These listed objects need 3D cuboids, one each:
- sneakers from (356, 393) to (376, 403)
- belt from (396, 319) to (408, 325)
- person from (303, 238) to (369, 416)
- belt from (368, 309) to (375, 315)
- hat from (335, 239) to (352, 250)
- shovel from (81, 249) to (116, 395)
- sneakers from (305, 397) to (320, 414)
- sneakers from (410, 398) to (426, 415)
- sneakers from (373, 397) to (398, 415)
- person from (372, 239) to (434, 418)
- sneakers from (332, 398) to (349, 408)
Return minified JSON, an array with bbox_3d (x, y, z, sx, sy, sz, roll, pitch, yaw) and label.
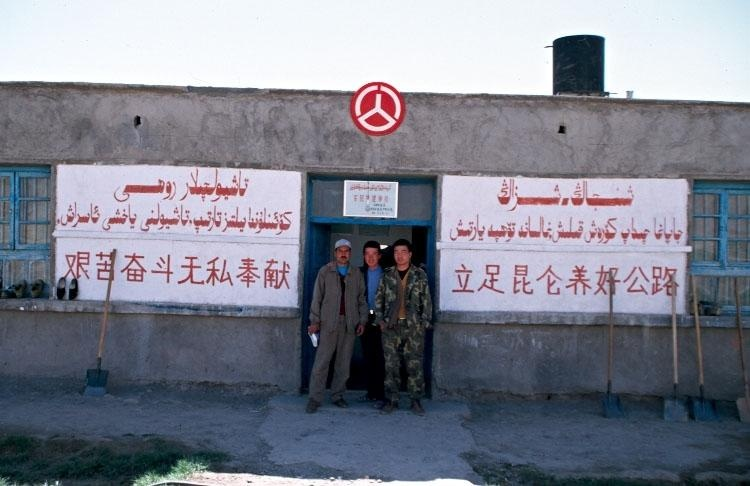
[{"bbox_3d":[-0.137,2.326,14.345,0.352,0.146,0.114,3,-4,8],"label":"sneakers"},{"bbox_3d":[0.407,1.157,13.880,0.164,0.126,0.049,0,-4,10],"label":"belt"},{"bbox_3d":[-0.553,1.372,13.989,0.844,2.154,0.282,1,-4,-1],"label":"person"},{"bbox_3d":[-0.047,1.062,14.397,0.089,0.023,0.081,-10,-45,11],"label":"belt"},{"bbox_3d":[-0.460,0.029,14.066,0.199,0.142,0.261,0,-3,4],"label":"hat"},{"bbox_3d":[-4.043,1.170,14.229,0.375,2.140,0.339,1,-4,-2],"label":"shovel"},{"bbox_3d":[-0.885,2.338,13.861,0.238,0.221,0.141,2,-4,-19],"label":"sneakers"},{"bbox_3d":[0.623,2.380,13.851,0.106,0.173,0.318,5,-25,1],"label":"sneakers"},{"bbox_3d":[0.187,2.386,13.975,0.434,0.289,0.144,2,-8,17],"label":"sneakers"},{"bbox_3d":[0.399,1.209,13.955,0.806,2.477,0.308,1,-4,1],"label":"person"},{"bbox_3d":[-0.503,2.342,14.000,0.110,0.091,0.222,4,-8,-42],"label":"sneakers"}]
